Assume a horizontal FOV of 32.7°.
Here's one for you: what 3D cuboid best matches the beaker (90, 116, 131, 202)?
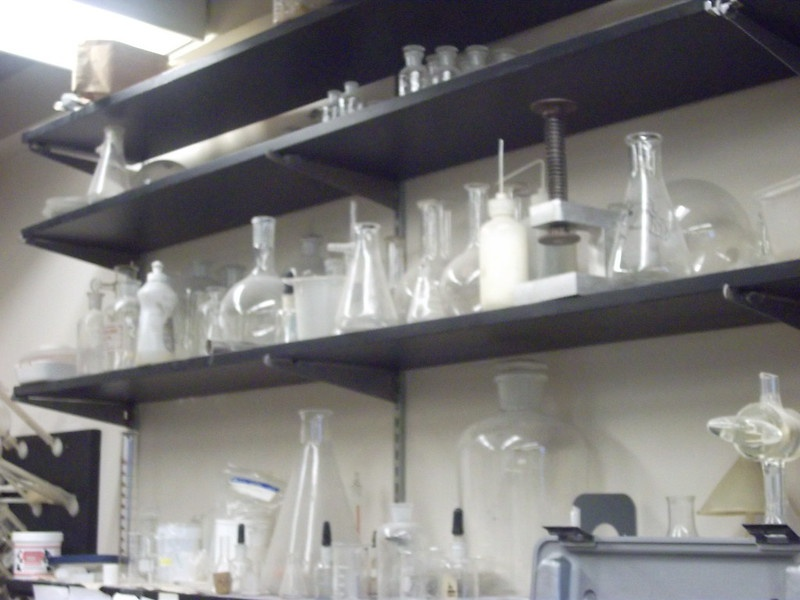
[{"bbox_3d":[-0.801,-0.407,3.850,0.108,0.139,0.239,20,-41,0],"label":"beaker"}]

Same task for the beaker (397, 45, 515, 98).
[{"bbox_3d":[0.090,-0.549,3.256,0.175,0.069,0.175,-8,-10,-9],"label":"beaker"}]
